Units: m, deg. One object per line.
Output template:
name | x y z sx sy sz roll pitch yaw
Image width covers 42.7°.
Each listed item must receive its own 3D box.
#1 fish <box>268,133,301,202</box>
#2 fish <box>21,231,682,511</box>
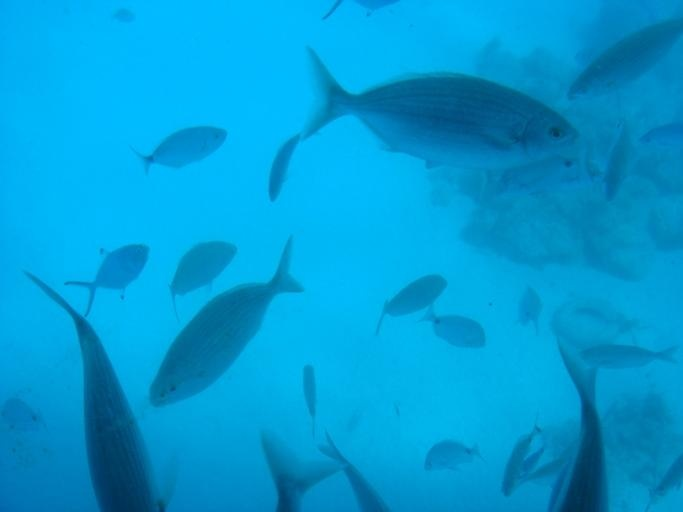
fish | -0.153 -0.240 2.350 0.052 0.029 0.223 16 -94 -12
fish | 0.217 0.237 2.960 2.283 0.618 1.351 -3 -86 -5
